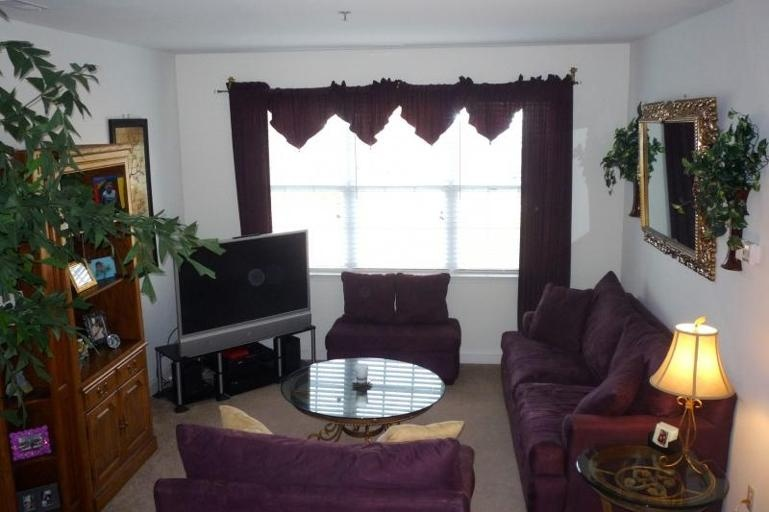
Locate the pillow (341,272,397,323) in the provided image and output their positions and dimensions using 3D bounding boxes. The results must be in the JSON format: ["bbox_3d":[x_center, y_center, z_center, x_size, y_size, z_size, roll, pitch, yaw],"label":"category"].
[{"bbox_3d":[-0.159,0.470,6.588,0.537,0.525,0.200,1,0,8],"label":"pillow"}]

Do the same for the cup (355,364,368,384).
[{"bbox_3d":[-0.196,1.070,5.296,0.119,0.170,0.128,0,-7,0],"label":"cup"}]

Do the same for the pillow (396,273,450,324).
[{"bbox_3d":[0.413,0.478,6.549,0.528,0.504,0.190,0,-1,4],"label":"pillow"}]

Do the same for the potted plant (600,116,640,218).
[{"bbox_3d":[2.440,-0.923,6.141,0.377,0.994,0.790,1,10,19],"label":"potted plant"}]

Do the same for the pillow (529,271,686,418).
[{"bbox_3d":[1.962,0.678,5.243,0.862,0.805,1.952,-9,15,8],"label":"pillow"}]

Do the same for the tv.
[{"bbox_3d":[-1.422,0.400,5.951,1.294,1.059,0.074,-7,9,-34],"label":"tv"}]
